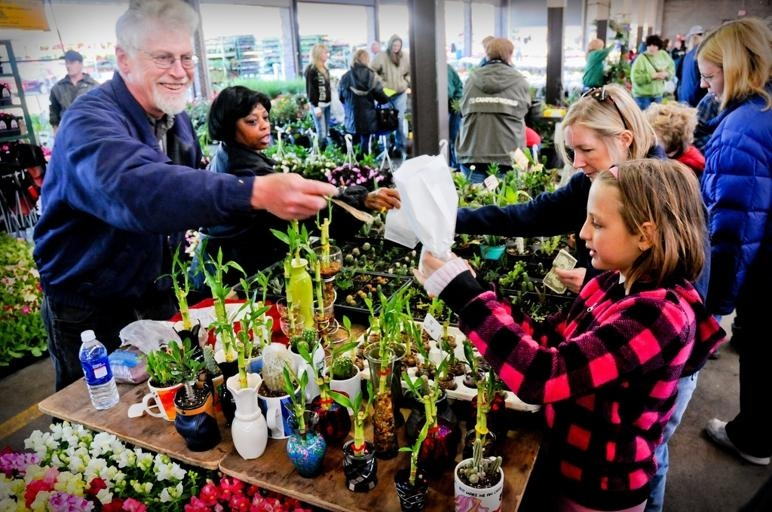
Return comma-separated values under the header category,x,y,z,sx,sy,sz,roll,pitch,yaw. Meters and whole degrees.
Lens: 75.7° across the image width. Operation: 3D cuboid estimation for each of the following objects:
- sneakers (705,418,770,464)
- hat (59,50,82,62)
category,x,y,z,sx,sy,sz,roll,pitch,yaw
sneakers,2.310,1.268,3.341,0.155,0.163,0.387,-33,46,-25
hat,-2.613,-1.665,4.127,0.102,0.070,0.134,10,24,-5
